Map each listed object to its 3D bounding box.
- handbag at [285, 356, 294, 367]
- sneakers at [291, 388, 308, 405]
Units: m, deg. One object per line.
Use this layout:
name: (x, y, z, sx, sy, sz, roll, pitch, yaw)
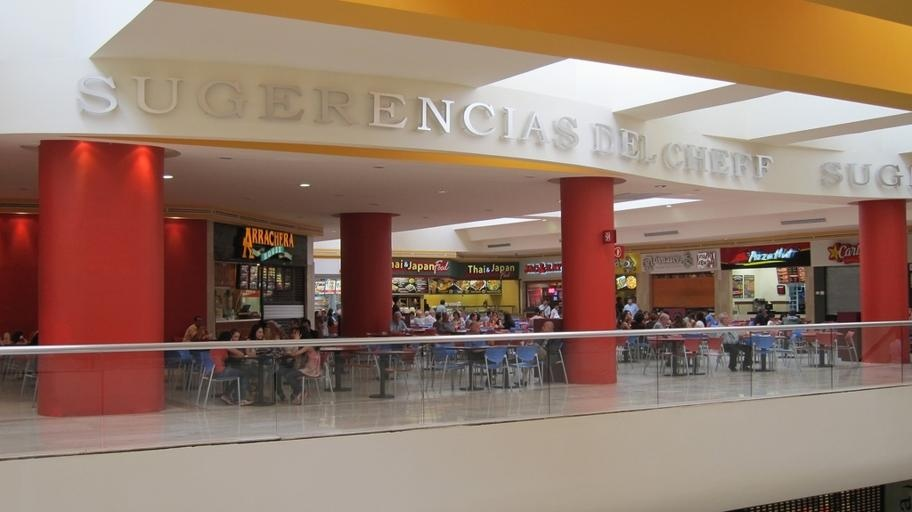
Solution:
handbag: (-2.675, 1.707, 11.014, 0.193, 0.151, 0.043, 6, -3, -1)
sneakers: (-2.486, 2.282, 11.039, 0.119, 0.337, 0.135, 41, -4, -8)
